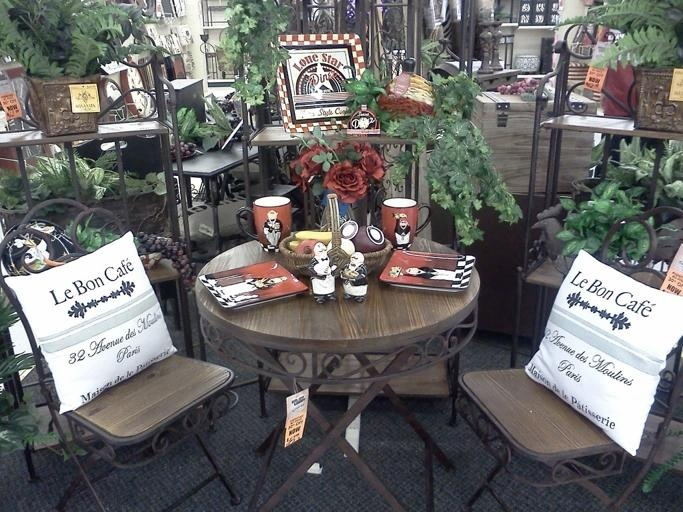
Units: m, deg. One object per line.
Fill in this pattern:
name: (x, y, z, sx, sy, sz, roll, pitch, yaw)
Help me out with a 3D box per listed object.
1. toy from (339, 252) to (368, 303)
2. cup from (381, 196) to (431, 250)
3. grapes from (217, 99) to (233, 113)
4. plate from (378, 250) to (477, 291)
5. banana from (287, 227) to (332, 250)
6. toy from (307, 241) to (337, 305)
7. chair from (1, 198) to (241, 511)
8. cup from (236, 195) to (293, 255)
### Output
toy: (0.048, 0.064, 1.853, 0.090, 0.158, 0.163, -3, 24, 2)
cup: (0.281, -0.128, 2.174, 0.208, 0.189, 0.162, 0, 15, 9)
grapes: (-1.093, -1.423, 4.868, 0.087, 0.135, 0.119, 15, 60, 36)
plate: (0.334, 0.060, 1.949, 0.202, 0.034, 0.210, 6, 31, 15)
banana: (-0.109, -0.061, 2.036, 0.247, 0.082, 0.067, -2, 7, 0)
toy: (-0.064, 0.051, 1.858, 0.101, 0.180, 0.187, -5, 24, -2)
chair: (-0.973, 0.477, 2.172, 0.849, 1.364, 0.639, 29, 40, 27)
cup: (-0.336, -0.124, 2.168, 0.216, 0.193, 0.136, -2, 18, -10)
